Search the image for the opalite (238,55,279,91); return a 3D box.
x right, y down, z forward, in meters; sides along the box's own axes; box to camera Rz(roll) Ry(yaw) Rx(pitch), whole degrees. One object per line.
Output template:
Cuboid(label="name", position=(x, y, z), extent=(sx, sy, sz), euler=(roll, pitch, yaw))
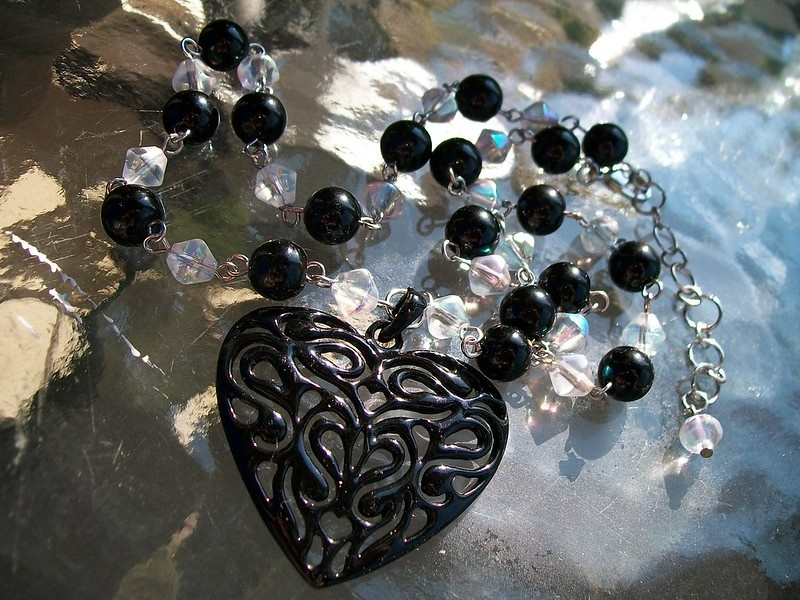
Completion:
Cuboid(label="opalite", position=(-0.411, -0.666, 2.620), extent=(0.103, 0.110, 0.042), euler=(4, 15, -12))

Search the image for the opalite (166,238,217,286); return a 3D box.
Cuboid(label="opalite", position=(-0.556, -0.099, 2.400), extent=(0.128, 0.088, 0.095), euler=(-8, 62, -25))

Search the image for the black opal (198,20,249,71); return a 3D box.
Cuboid(label="black opal", position=(-0.502, -0.735, 2.638), extent=(0.134, 0.139, 0.160), euler=(6, 51, -5))

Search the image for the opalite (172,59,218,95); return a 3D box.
Cuboid(label="opalite", position=(-0.599, -0.645, 2.599), extent=(0.102, 0.058, 0.116), euler=(-17, 93, -17))

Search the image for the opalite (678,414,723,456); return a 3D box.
Cuboid(label="opalite", position=(0.795, 0.357, 2.375), extent=(0.100, 0.110, 0.101), euler=(2, 23, 6))

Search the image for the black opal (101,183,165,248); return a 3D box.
Cuboid(label="black opal", position=(-0.714, -0.219, 2.403), extent=(0.158, 0.118, 0.151), euler=(3, 59, -19))
